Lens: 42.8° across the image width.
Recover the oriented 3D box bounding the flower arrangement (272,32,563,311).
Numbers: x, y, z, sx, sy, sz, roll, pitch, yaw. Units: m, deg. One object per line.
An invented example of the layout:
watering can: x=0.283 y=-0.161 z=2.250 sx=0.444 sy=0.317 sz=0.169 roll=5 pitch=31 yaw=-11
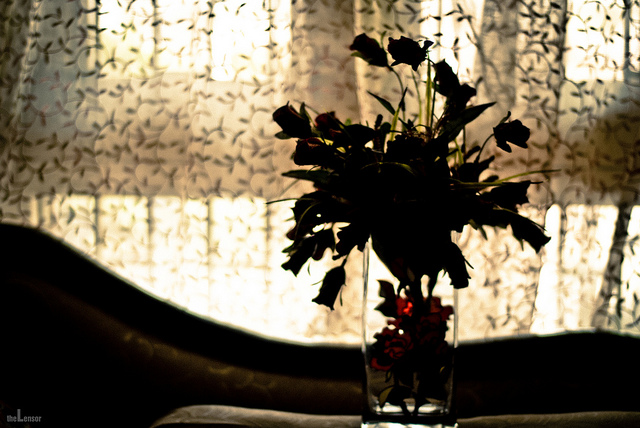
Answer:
flower arrangement: x=0.187 y=-0.101 z=1.795 sx=0.498 sy=0.619 sz=0.598 roll=-16 pitch=27 yaw=-16
